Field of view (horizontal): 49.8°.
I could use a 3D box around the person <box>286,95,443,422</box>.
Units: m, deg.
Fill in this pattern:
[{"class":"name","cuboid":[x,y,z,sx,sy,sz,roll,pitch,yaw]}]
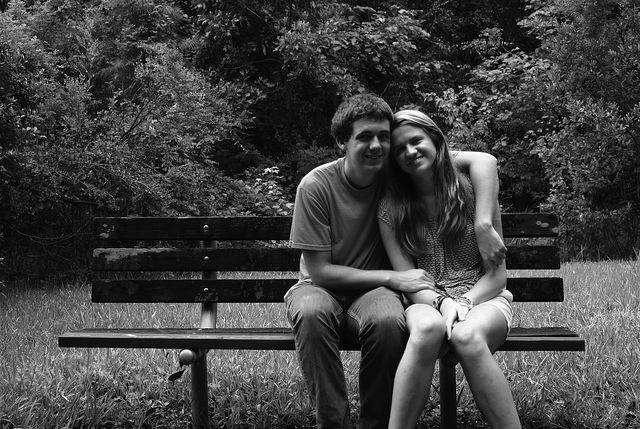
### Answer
[{"class":"person","cuboid":[0.243,0.293,5.247,1.000,2.451,0.575,-1,-2,-4]}]
